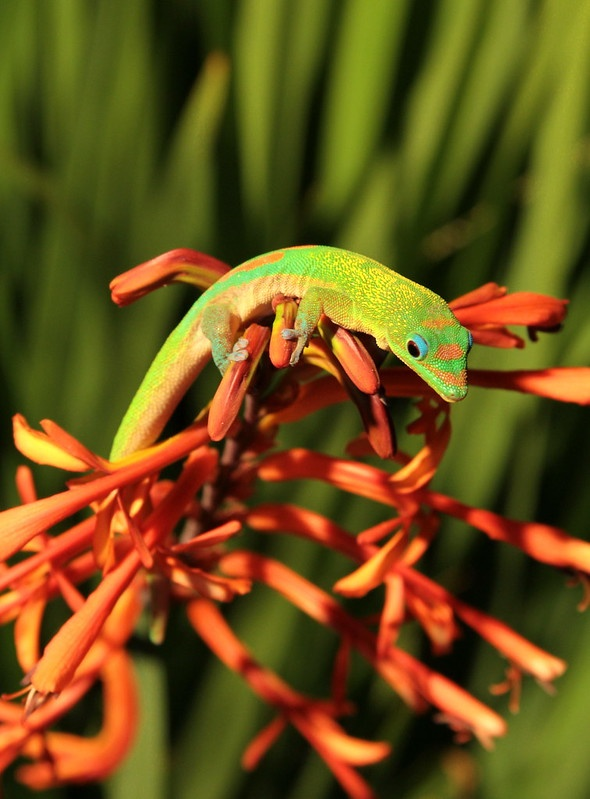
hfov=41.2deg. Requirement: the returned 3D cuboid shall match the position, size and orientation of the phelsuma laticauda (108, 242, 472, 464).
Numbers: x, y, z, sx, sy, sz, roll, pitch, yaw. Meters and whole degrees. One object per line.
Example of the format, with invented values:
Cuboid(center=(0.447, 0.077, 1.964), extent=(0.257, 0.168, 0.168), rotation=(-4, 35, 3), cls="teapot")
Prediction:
Cuboid(center=(-0.024, -0.072, 0.683), extent=(0.338, 0.081, 0.159), rotation=(-5, 60, 9), cls="phelsuma laticauda")
